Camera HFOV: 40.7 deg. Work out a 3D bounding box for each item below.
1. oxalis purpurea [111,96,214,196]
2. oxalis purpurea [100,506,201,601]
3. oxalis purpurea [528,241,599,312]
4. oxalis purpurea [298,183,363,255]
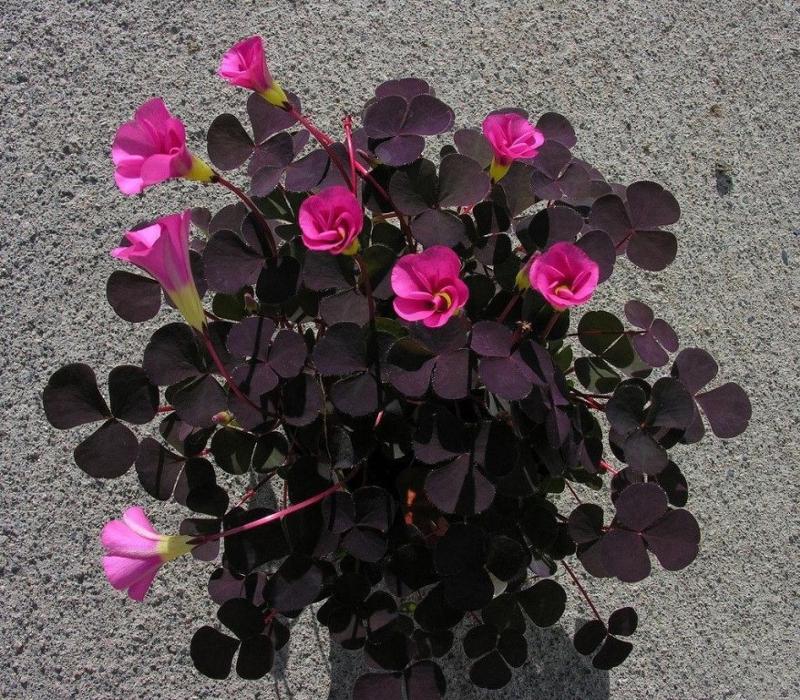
[{"bbox_3d":[-0.372,-0.286,1.604,0.127,0.095,0.133,-35,84,-10],"label":"oxalis purpurea"},{"bbox_3d":[-0.379,0.284,1.615,0.175,0.065,0.125,27,48,-30],"label":"oxalis purpurea"},{"bbox_3d":[0.237,-0.109,1.577,0.097,0.058,0.098,-9,80,-6],"label":"oxalis purpurea"},{"bbox_3d":[-0.103,-0.191,1.581,0.103,0.059,0.082,29,95,38],"label":"oxalis purpurea"}]
